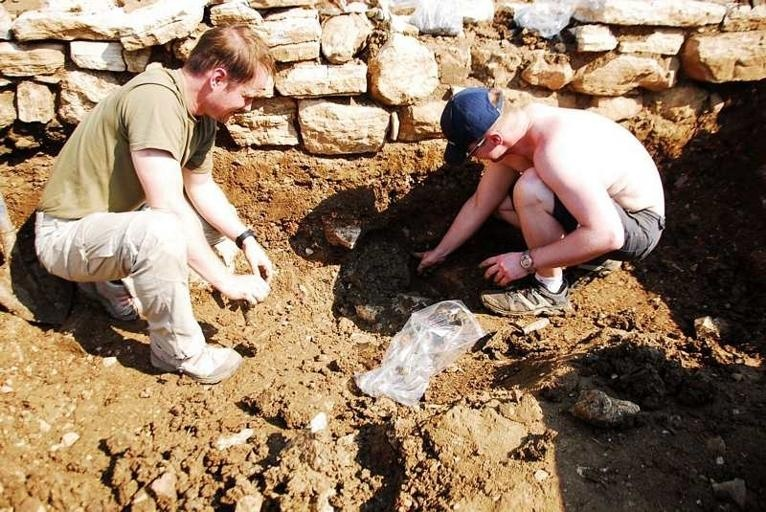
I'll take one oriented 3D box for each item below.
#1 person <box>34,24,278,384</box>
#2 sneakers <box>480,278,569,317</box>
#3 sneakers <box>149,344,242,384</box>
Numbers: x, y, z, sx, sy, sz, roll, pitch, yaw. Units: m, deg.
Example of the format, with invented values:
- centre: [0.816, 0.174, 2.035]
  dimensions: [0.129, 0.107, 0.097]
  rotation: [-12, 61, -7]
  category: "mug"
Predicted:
- centre: [-1.160, -0.285, 3.328]
  dimensions: [1.195, 1.476, 1.234]
  rotation: [25, 53, 18]
  category: "person"
- centre: [0.883, 0.258, 3.884]
  dimensions: [0.614, 0.253, 0.226]
  rotation: [0, 12, -1]
  category: "sneakers"
- centre: [-1.043, 0.620, 3.395]
  dimensions: [0.489, 0.208, 0.215]
  rotation: [-1, 51, -14]
  category: "sneakers"
